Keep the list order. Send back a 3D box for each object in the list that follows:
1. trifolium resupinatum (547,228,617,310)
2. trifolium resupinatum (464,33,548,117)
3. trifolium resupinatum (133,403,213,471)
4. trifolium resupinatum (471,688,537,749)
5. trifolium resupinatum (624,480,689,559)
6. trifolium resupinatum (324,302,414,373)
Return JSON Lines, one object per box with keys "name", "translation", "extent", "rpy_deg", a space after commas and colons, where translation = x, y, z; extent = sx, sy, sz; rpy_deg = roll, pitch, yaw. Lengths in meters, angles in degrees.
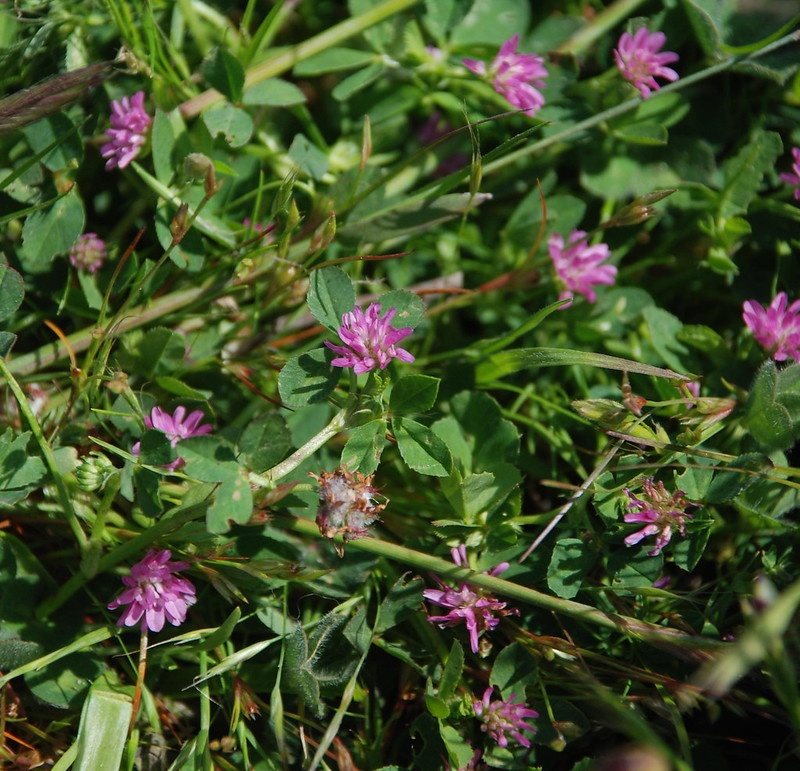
{"name": "trifolium resupinatum", "translation": [0.280, -0.189, 1.253], "extent": [0.112, 0.099, 0.088], "rpy_deg": [13, 61, 6]}
{"name": "trifolium resupinatum", "translation": [0.150, -0.496, 1.238], "extent": [0.109, 0.113, 0.051], "rpy_deg": [-11, 104, -15]}
{"name": "trifolium resupinatum", "translation": [-0.297, 0.057, 1.086], "extent": [0.082, 0.083, 0.036], "rpy_deg": [-17, 118, -34]}
{"name": "trifolium resupinatum", "translation": [0.122, 0.438, 1.072], "extent": [0.096, 0.073, 0.041], "rpy_deg": [26, 93, 2]}
{"name": "trifolium resupinatum", "translation": [0.337, 0.153, 1.057], "extent": [0.067, 0.033, 0.062], "rpy_deg": [45, 81, -13]}
{"name": "trifolium resupinatum", "translation": [-0.038, -0.058, 1.021], "extent": [0.109, 0.071, 0.107], "rpy_deg": [-2, 60, -3]}
